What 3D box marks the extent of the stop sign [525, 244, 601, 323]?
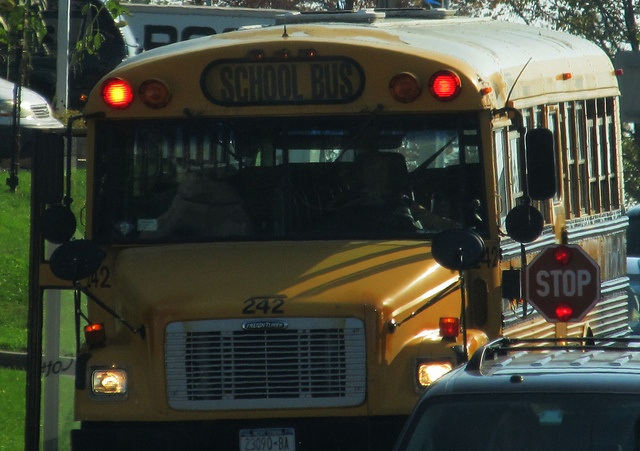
[{"bbox_3d":[2.315,0.564,15.842,0.736,0.726,0.098,1,9,-23],"label":"stop sign"}]
